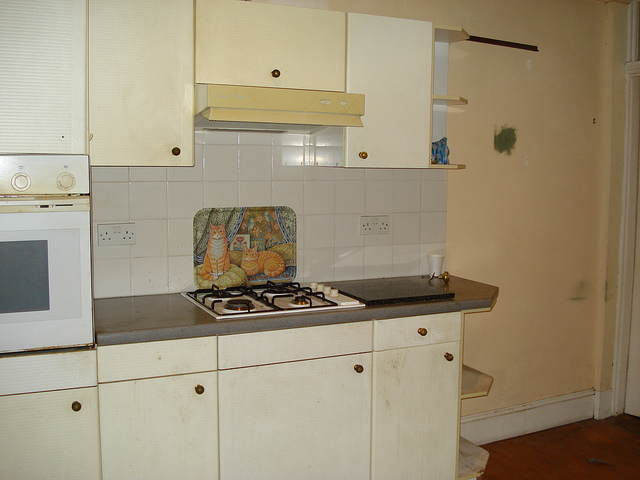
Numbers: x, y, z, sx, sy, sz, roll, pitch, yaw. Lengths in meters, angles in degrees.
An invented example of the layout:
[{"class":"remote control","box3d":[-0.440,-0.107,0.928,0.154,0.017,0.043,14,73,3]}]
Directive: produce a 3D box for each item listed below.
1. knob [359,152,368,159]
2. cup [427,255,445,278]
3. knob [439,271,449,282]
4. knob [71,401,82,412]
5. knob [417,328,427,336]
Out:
[{"class":"knob","box3d":[0.228,-0.433,2.920,0.047,0.032,0.010,-7,14,-31]},{"class":"cup","box3d":[0.706,0.154,3.451,0.094,0.139,0.120,3,13,11]},{"class":"knob","box3d":[0.739,0.221,3.360,0.034,0.039,0.058,32,-27,-32]},{"class":"knob","box3d":[-1.004,0.695,2.342,0.032,0.050,0.023,0,12,-1]},{"class":"knob","box3d":[0.515,0.458,2.816,0.053,0.039,0.017,-7,14,-30]}]
